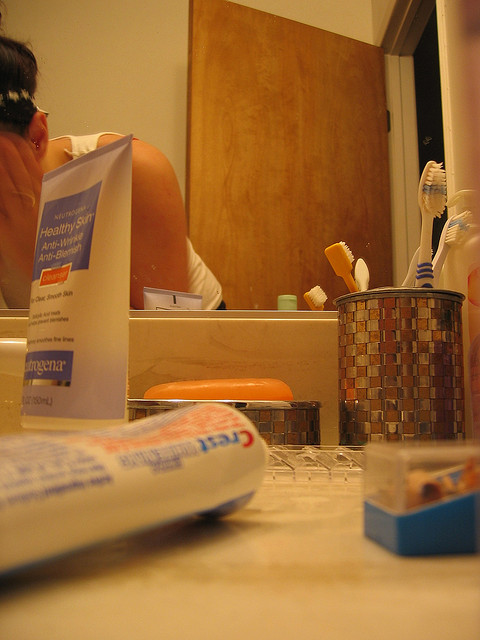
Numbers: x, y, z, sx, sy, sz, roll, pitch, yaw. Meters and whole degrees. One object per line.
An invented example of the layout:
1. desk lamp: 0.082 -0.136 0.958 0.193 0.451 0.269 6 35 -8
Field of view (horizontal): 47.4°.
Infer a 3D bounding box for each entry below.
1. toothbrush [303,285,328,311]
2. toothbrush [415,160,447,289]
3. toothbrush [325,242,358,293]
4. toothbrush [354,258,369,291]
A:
1. toothbrush: 0.090 -0.027 0.656 0.026 0.025 0.009 -27 -14 -35
2. toothbrush: 0.155 -0.080 0.464 0.026 0.101 0.036 -5 8 -1
3. toothbrush: 0.112 -0.065 0.584 0.007 0.073 0.021 -14 -15 -43
4. toothbrush: 0.128 -0.048 0.576 0.015 0.010 0.062 4 42 5
